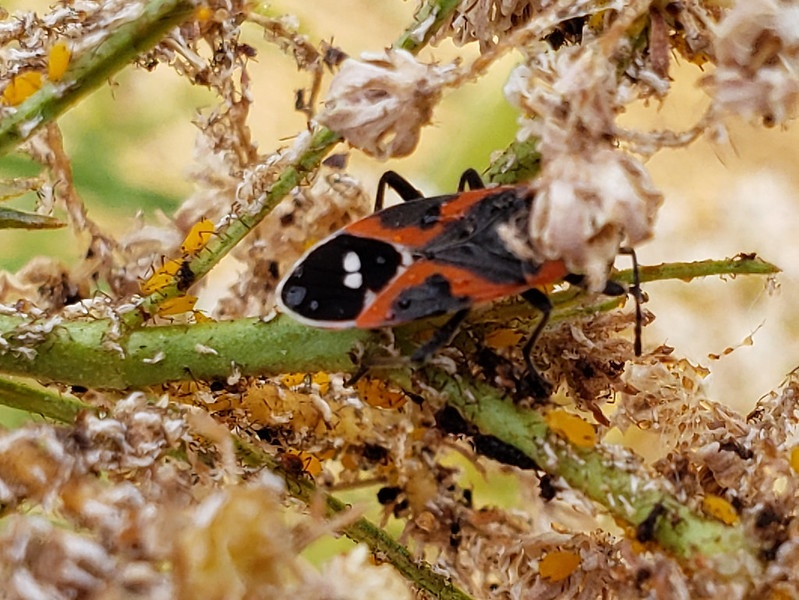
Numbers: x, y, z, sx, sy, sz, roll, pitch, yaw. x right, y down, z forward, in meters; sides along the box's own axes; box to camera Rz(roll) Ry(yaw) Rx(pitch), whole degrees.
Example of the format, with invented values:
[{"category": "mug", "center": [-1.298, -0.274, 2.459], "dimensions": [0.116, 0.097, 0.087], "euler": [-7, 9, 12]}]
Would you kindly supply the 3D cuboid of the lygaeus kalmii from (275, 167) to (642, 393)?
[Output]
[{"category": "lygaeus kalmii", "center": [0.072, -0.023, 1.317], "dimensions": [0.355, 0.092, 0.206], "euler": [-16, 65, -2]}]
